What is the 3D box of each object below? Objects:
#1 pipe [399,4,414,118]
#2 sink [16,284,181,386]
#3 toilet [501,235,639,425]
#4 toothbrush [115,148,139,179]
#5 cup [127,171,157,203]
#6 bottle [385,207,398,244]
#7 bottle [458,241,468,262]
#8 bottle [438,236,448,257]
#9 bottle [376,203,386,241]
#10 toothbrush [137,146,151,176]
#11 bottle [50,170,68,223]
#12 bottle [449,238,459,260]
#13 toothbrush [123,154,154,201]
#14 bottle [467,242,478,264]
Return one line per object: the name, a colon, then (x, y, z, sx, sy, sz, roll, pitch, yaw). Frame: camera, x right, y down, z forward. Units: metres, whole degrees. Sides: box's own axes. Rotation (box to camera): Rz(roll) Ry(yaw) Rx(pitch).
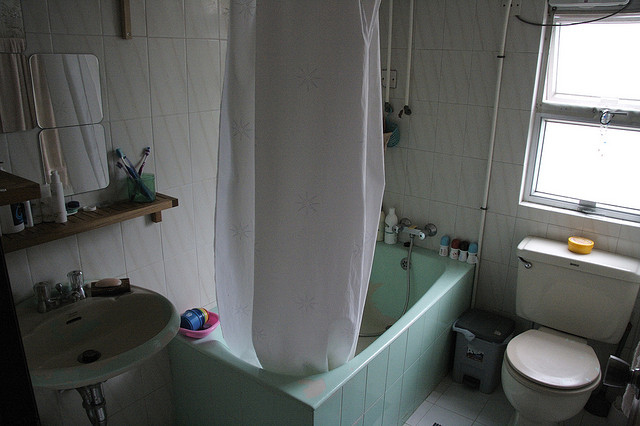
pipe: (0.644, -1.086, 3.240, 0.094, 0.786, 0.072, 10, 18, 28)
sink: (-1.004, 0.552, 2.080, 0.640, 0.251, 0.550, -9, 19, -33)
toilet: (1.491, 0.803, 2.807, 0.678, 1.070, 0.854, 14, 20, 37)
toothbrush: (-1.006, -0.257, 2.323, 0.031, 0.177, 0.031, -32, 16, 11)
cup: (-0.925, -0.133, 2.350, 0.135, 0.159, 0.151, 2, 8, 2)
bottle: (0.572, 0.098, 3.563, 0.106, 0.277, 0.114, 1, 16, 0)
bottle: (1.073, 0.284, 3.336, 0.065, 0.146, 0.047, 7, 17, 18)
bottle: (0.937, 0.252, 3.388, 0.064, 0.151, 0.033, 6, 17, 16)
bottle: (0.503, 0.080, 3.598, 0.054, 0.271, 0.136, 4, 16, 9)
toothbrush: (-0.936, -0.276, 2.396, 0.041, 0.155, 0.023, 19, -7, -21)
bottle: (-1.227, -0.078, 2.107, 0.052, 0.227, 0.117, -8, 18, -29)
bottle: (1.013, 0.273, 3.346, 0.062, 0.153, 0.037, 2, 16, 0)
toothbrush: (-0.958, -0.179, 2.353, 0.029, 0.273, 0.029, -25, 13, 20)
bottle: (1.131, 0.297, 3.300, 0.062, 0.158, 0.034, 6, 17, 15)
